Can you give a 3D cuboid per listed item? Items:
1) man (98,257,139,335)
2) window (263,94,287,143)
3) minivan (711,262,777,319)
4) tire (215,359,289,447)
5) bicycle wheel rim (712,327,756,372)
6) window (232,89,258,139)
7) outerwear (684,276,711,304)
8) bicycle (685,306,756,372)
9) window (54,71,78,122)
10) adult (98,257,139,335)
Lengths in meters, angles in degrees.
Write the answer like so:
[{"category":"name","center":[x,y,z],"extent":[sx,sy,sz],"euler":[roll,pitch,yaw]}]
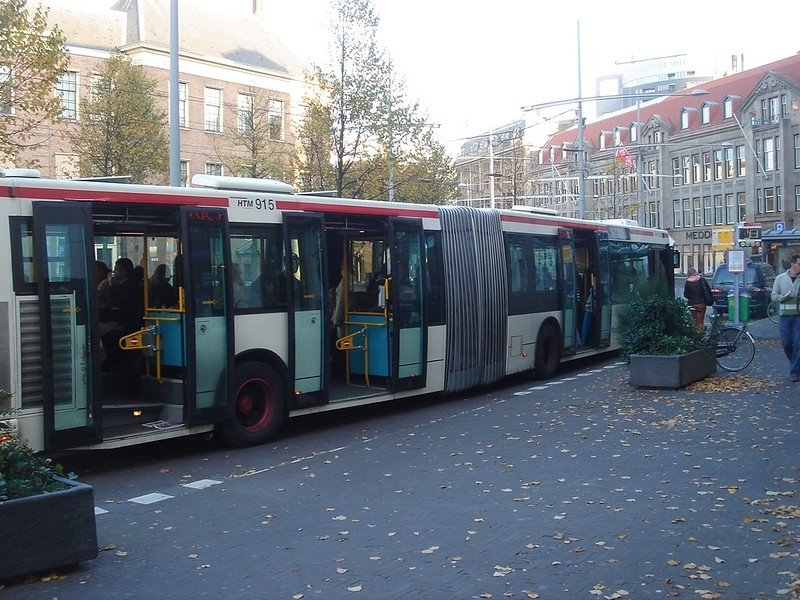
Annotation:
[{"category":"man","center":[-4.118,-0.054,10.592],"extent":[0.600,1.101,0.274],"euler":[-2,2,-7]},{"category":"window","center":[-6.224,-8.989,36.043],"extent":[0.926,2.513,0.187],"euler":[4,-22,-17]},{"category":"minivan","center":[16.713,-0.682,35.754],"extent":[2.518,2.724,5.535],"euler":[1,9,30]},{"category":"tire","center":[-2.214,1.490,10.424],"extent":[0.411,1.287,1.250],"euler":[0,-1,38]},{"category":"bicycle wheel rim","center":[7.331,1.086,15.982],"extent":[0.794,1.024,0.540],"euler":[-1,2,22]},{"category":"window","center":[-7.415,-8.915,34.594],"extent":[0.909,2.356,0.218],"euler":[2,-18,-13]},{"category":"outerwear","center":[8.977,-0.284,21.974],"extent":[0.924,0.982,0.595],"euler":[-2,3,16]},{"category":"bicycle","center":[6.867,1.021,16.095],"extent":[1.825,1.180,0.885],"euler":[0,3,20]},{"category":"window","center":[-16.616,-10.410,36.308],"extent":[0.936,2.211,0.186],"euler":[-7,33,-36]},{"category":"adult","center":[-4.118,-0.054,10.592],"extent":[0.600,1.101,0.274],"euler":[-2,2,-7]}]
